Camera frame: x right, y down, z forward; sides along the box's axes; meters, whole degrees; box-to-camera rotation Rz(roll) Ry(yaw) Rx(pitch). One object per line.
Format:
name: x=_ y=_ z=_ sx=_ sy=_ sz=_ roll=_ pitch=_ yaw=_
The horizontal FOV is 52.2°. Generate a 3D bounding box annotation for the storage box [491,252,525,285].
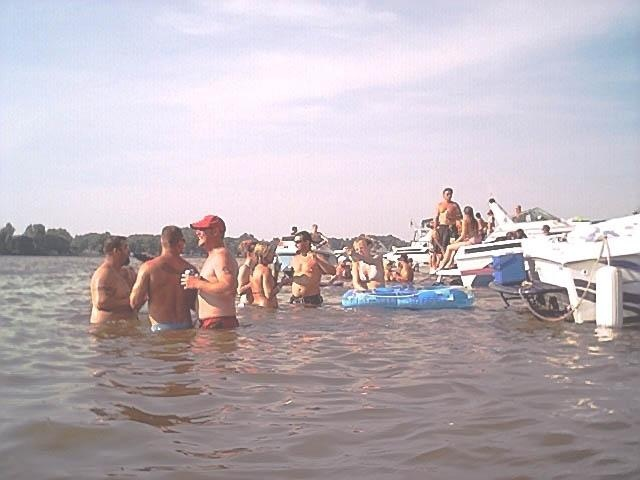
storage box: x=3.189 y=0.485 z=11.343 sx=0.634 sy=0.604 sz=0.369 roll=-2 pitch=1 yaw=-7

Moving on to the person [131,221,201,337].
person: x=-1.973 y=0.494 z=8.433 sx=0.621 sy=1.370 sz=0.847 roll=5 pitch=7 yaw=41

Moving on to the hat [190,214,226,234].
hat: x=-1.377 y=-0.176 z=8.107 sx=0.388 sy=0.150 sz=0.245 roll=4 pitch=-2 yaw=-9

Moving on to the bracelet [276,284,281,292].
bracelet: x=-0.711 y=0.826 z=11.199 sx=0.046 sy=0.122 sz=0.093 roll=-4 pitch=18 yaw=-27

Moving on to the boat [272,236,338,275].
boat: x=-0.721 y=0.273 z=25.280 sx=2.715 sy=1.067 sz=1.127 roll=-3 pitch=22 yaw=0
